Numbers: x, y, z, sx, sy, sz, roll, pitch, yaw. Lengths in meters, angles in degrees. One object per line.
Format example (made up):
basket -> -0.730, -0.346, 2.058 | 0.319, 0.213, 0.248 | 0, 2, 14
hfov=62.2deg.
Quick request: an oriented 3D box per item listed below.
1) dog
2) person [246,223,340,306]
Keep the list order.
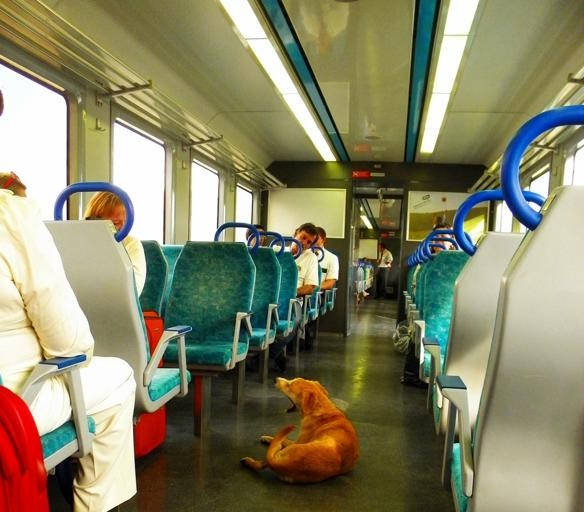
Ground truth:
dog -> -0.025, 1.073, 2.883 | 0.467, 0.913, 0.440 | -6, 43, 4
person -> 0.041, 0.120, 7.594 | 0.988, 1.555, 1.210 | 0, -14, 6
